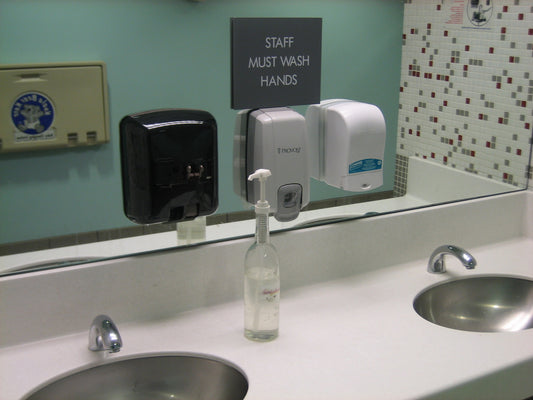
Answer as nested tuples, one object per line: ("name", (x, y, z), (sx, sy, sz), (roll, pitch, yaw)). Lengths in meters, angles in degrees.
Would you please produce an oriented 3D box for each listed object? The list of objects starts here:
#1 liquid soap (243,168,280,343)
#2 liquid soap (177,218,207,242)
("liquid soap", (-0.016, 0.180, 1.094), (0.093, 0.350, 0.065), (-3, 17, -1))
("liquid soap", (-0.206, 0.078, 1.234), (0.064, 0.078, 0.070), (0, 1, 0))
